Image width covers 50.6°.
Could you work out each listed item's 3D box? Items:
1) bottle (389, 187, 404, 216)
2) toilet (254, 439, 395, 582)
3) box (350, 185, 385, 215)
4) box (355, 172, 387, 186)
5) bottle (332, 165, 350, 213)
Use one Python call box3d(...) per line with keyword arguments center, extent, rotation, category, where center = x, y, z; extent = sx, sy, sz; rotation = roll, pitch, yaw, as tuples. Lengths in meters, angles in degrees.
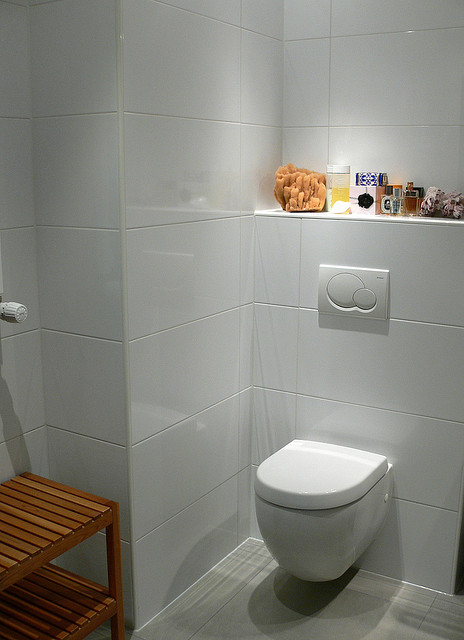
box3d(center=(0.514, -0.369, 1.536), extent=(0.035, 0.083, 0.044), rotation=(1, 2, 16), category="bottle")
box3d(center=(0.284, 0.593, 1.530), extent=(0.368, 0.340, 0.480), rotation=(0, 7, 29), category="toilet")
box3d(center=(0.442, -0.378, 1.630), extent=(0.094, 0.112, 0.102), rotation=(2, 4, 21), category="box")
box3d(center=(0.459, -0.465, 1.629), extent=(0.097, 0.051, 0.048), rotation=(1, 2, 17), category="box")
box3d(center=(0.371, -0.457, 1.706), extent=(0.059, 0.170, 0.064), rotation=(-3, 21, 1), category="bottle")
